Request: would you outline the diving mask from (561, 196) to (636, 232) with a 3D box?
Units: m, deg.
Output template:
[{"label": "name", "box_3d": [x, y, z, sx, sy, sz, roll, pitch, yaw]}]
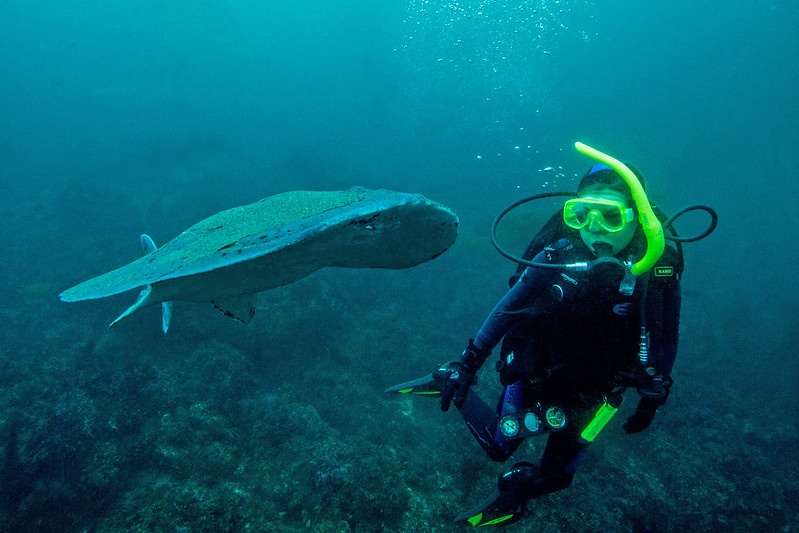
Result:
[{"label": "diving mask", "box_3d": [3.517, -0.921, 12.157, 1.200, 0.800, 0.635, -3, -48, -4]}]

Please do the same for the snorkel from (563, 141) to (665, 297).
[{"label": "snorkel", "box_3d": [3.936, -0.878, 11.840, 1.378, 1.330, 2.560, 0, -25, 0]}]

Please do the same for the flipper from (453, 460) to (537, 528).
[{"label": "flipper", "box_3d": [1.978, 4.314, 12.788, 1.025, 0.544, 2.391, 29, -40, -34]}]

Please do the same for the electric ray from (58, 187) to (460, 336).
[{"label": "electric ray", "box_3d": [-2.643, -0.215, 12.591, 6.834, 1.826, 5.902, -13, -12, 32]}]
